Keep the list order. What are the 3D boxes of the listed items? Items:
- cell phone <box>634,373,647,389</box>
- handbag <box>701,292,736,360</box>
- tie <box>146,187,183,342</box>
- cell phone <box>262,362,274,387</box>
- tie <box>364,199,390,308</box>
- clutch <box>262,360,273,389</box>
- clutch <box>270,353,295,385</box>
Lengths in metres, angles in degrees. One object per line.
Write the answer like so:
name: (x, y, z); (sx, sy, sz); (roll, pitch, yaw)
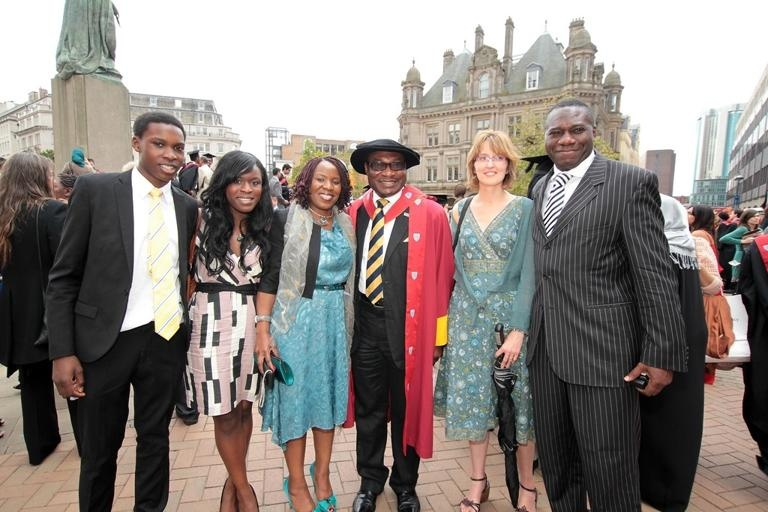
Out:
cell phone: (2.238, 1.088, 4.616); (0.047, 0.128, 0.093); (45, -5, -23)
handbag: (3.648, 0.767, 5.801); (0.286, 0.698, 0.405); (1, 4, 31)
tie: (-2.026, 0.055, 4.856); (0.228, 1.349, 0.221); (2, 5, 42)
cell phone: (-1.098, 1.155, 5.097); (0.101, 0.190, 0.173); (-2, 4, -17)
tie: (-0.068, -0.059, 5.460); (0.180, 1.088, 0.224); (1, 4, 24)
clutch: (-1.095, 1.149, 5.071); (0.074, 0.190, 0.149); (5, -1, -15)
clutch: (-0.968, 1.100, 5.082); (0.201, 0.287, 0.190); (-2, 4, -11)
